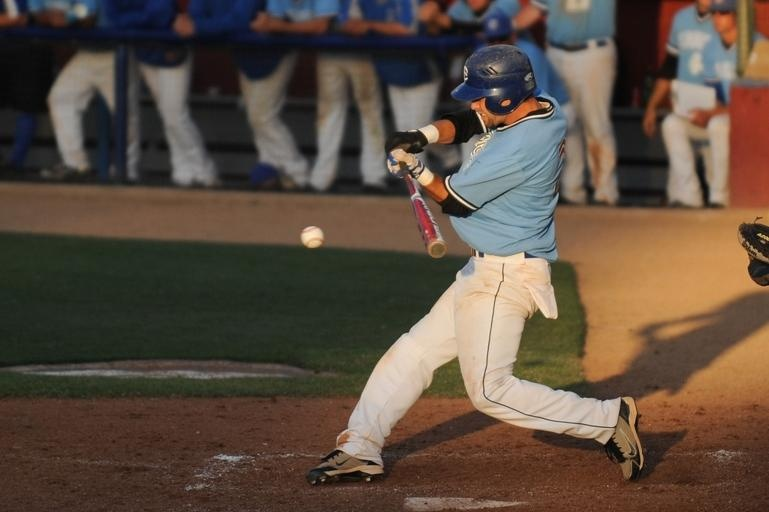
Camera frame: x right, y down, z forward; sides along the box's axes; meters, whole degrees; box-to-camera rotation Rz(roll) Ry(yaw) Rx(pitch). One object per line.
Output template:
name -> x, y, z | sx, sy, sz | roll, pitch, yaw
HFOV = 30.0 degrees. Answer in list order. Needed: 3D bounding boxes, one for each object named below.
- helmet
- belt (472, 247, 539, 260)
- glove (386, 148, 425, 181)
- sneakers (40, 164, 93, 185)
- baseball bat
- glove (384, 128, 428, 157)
helmet -> 0.824, -1.300, 10.540 | 0.620, 0.418, 0.429 | 2, 10, 7
belt -> 0.911, -0.007, 10.648 | 0.478, 0.054, 0.052 | 2, 12, 8
glove -> 0.190, -0.693, 10.599 | 0.260, 0.121, 0.183 | 32, -19, -36
sneakers -> -3.678, -0.957, 16.623 | 0.603, 0.226, 0.209 | 4, 11, 0
baseball bat -> 0.273, -0.403, 10.977 | 0.176, 0.161, 1.280 | -20, 36, 0
glove -> 0.173, -0.846, 10.601 | 0.280, 0.110, 0.157 | -8, 55, -25
